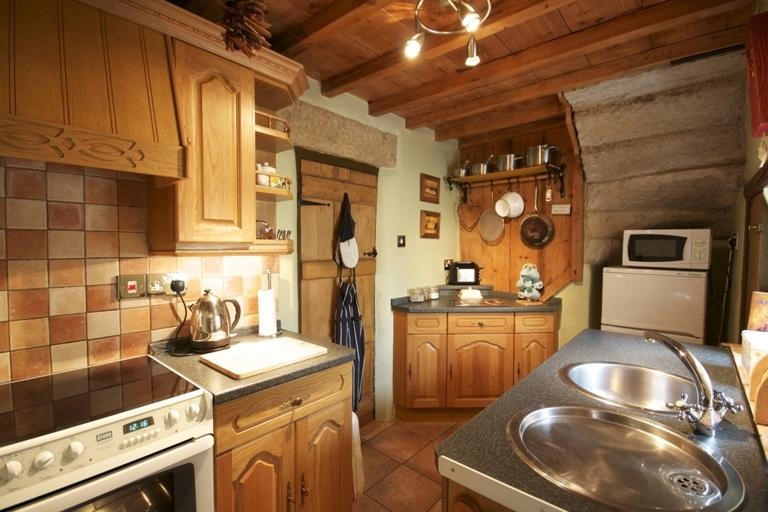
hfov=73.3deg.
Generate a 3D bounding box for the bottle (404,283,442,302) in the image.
[{"bbox_3d":[0.372,0.334,4.652,0.168,0.129,0.451,-1,1,33],"label":"bottle"}]

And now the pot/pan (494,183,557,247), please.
[{"bbox_3d":[1.289,-0.349,4.700,0.094,0.579,0.366,1,-1,-43],"label":"pot/pan"}]

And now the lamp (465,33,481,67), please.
[{"bbox_3d":[0.437,-1.034,2.578,0.057,0.192,0.220,-2,2,10],"label":"lamp"}]

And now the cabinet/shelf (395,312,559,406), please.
[{"bbox_3d":[0.745,0.785,4.031,0.852,0.476,0.262,0,-1,2],"label":"cabinet/shelf"}]

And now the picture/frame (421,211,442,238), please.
[{"bbox_3d":[0.419,-0.293,4.781,0.023,0.193,0.290,0,0,36],"label":"picture/frame"}]

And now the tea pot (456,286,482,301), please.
[{"bbox_3d":[0.773,0.337,4.653,0.141,0.082,0.134,0,0,0],"label":"tea pot"}]

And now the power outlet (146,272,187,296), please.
[{"bbox_3d":[-1.276,0.163,3.017,0.218,0.134,0.043,0,-3,-31],"label":"power outlet"}]

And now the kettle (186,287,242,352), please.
[{"bbox_3d":[-1.034,0.372,3.112,0.342,0.332,0.259,0,4,-35],"label":"kettle"}]

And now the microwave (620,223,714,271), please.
[{"bbox_3d":[2.170,0.001,4.023,0.578,0.322,0.343,2,-19,24],"label":"microwave"}]

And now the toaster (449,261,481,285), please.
[{"bbox_3d":[0.735,0.163,4.827,0.350,0.277,0.196,0,-3,2],"label":"toaster"}]

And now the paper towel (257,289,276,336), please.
[{"bbox_3d":[-0.754,0.363,3.336,0.122,0.298,0.179,-2,2,-14],"label":"paper towel"}]

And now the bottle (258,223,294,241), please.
[{"bbox_3d":[-0.672,-0.149,3.305,0.101,0.120,0.262,5,8,43],"label":"bottle"}]

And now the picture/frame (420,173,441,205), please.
[{"bbox_3d":[0.411,-0.618,4.763,0.025,0.226,0.339,0,-1,33],"label":"picture/frame"}]
